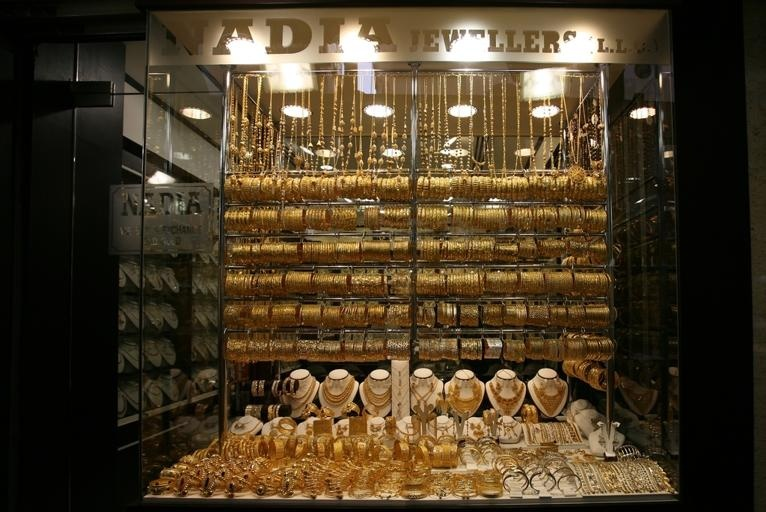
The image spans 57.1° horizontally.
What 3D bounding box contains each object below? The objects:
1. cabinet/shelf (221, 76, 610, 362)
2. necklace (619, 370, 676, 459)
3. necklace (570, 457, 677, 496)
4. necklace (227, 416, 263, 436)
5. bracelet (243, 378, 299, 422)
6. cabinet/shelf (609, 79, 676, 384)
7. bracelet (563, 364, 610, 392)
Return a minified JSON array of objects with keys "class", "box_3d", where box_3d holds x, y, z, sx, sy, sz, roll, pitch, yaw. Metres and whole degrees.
[{"class":"cabinet/shelf","box_3d":[0.269,-0.238,5.334,2.792,2.068,1.014,1,5,3]},{"class":"necklace","box_3d":[1.765,1.031,4.670,0.063,0.556,0.479,8,-13,-32]},{"class":"necklace","box_3d":[1.570,1.446,4.578,0.395,0.108,0.281,0,9,3]},{"class":"necklace","box_3d":[-0.960,1.173,4.865,0.142,0.043,0.145,4,5,27]},{"class":"bracelet","box_3d":[-0.789,1.006,4.942,0.364,0.296,0.051,4,-11,-12]},{"class":"cabinet/shelf","box_3d":[1.717,-0.166,4.732,0.335,2.017,0.679,4,-11,-14]},{"class":"bracelet","box_3d":[1.436,0.827,4.944,0.207,0.090,0.208,18,0,-8]}]
